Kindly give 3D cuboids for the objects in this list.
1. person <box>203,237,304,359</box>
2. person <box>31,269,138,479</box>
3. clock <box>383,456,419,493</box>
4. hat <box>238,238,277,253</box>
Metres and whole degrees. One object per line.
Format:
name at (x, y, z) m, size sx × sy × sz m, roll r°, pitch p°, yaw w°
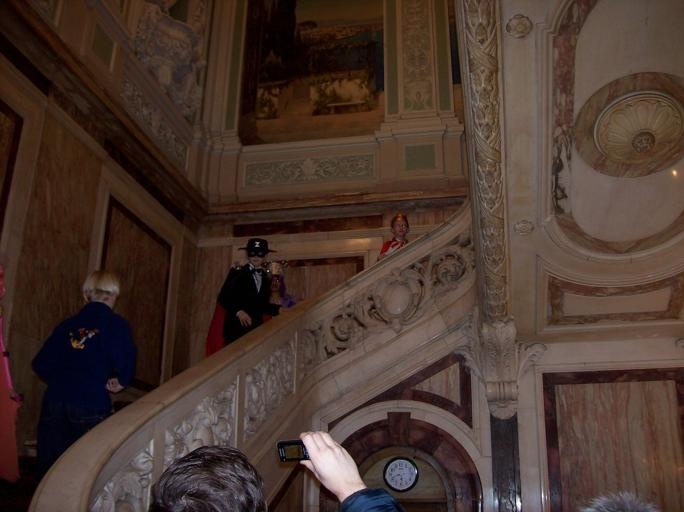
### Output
person at (-0.936, 0.401, 6.485) m, size 0.687 × 1.248 × 1.077 m, roll 8°, pitch -30°, yaw -10°
person at (-1.690, 0.735, 4.227) m, size 0.637 × 1.308 × 0.296 m, roll -9°, pitch -31°, yaw 19°
clock at (0.519, 1.903, 5.613) m, size 0.303 × 0.321 × 0.067 m, roll -7°, pitch -41°, yaw 7°
hat at (-0.806, -0.096, 6.333) m, size 0.282 × 0.089 × 0.292 m, roll 7°, pitch -15°, yaw 6°
